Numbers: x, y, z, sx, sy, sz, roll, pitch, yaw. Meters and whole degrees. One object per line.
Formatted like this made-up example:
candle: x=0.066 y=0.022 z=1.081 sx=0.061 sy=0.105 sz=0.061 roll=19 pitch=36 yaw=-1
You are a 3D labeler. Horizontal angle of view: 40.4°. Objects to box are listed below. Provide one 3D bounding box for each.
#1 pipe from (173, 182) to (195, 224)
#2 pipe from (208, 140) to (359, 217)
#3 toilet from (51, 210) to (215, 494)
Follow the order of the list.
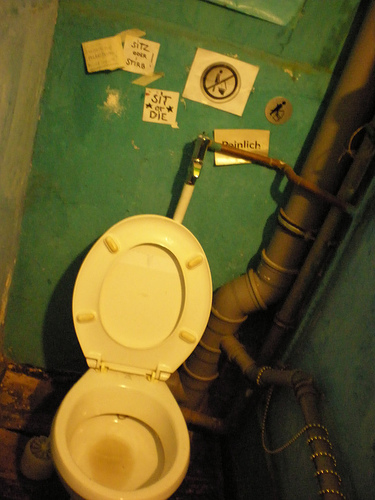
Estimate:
pipe: x=-0.015 y=-0.137 z=1.564 sx=0.036 sy=0.121 sz=0.133 roll=16 pitch=47 yaw=6
pipe: x=0.310 y=-0.216 z=1.573 sx=0.534 sy=0.070 sz=0.151 roll=18 pitch=50 yaw=-22
toilet: x=-0.168 y=0.352 z=1.477 sx=0.402 sy=0.665 sz=0.720 roll=12 pitch=47 yaw=-1
